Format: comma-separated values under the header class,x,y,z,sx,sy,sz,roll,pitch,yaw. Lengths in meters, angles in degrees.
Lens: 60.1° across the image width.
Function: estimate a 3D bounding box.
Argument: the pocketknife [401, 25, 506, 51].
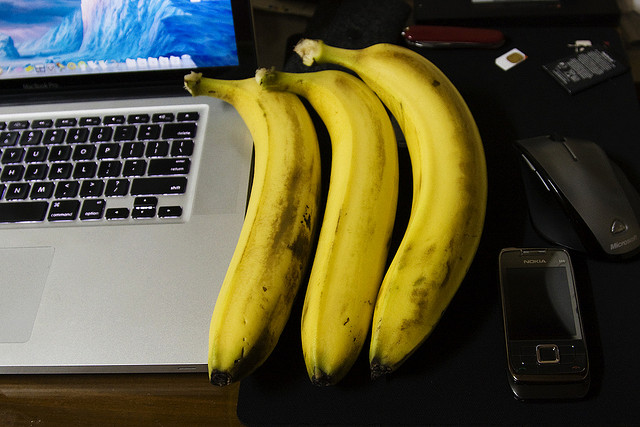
class,x,y,z,sx,sy,sz,roll,pitch,yaw
pocketknife,0.221,-0.294,0.906,0.172,0.053,0.031,4,6,8
